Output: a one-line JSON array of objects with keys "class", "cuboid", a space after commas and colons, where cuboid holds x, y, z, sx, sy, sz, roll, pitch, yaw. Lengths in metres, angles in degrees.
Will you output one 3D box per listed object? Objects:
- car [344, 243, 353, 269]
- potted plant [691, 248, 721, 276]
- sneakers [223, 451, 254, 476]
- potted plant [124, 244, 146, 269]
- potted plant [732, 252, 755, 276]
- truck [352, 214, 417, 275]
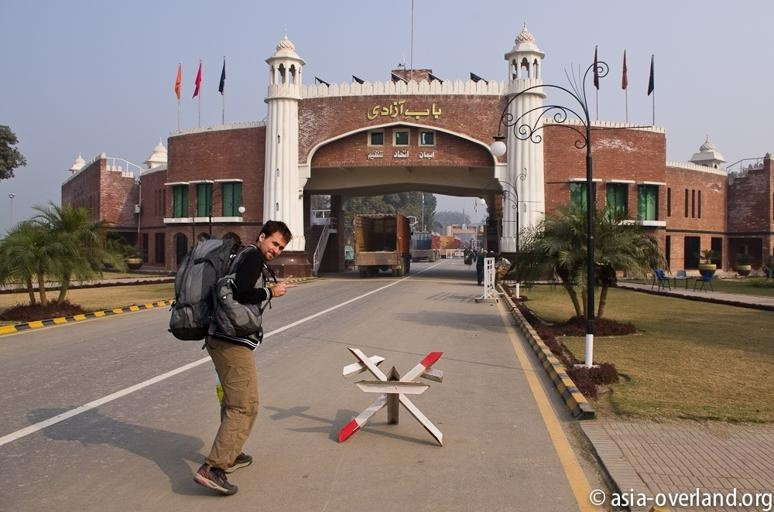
[{"class": "car", "cuboid": [-5.177, 0.163, 79.084, 1.873, 2.802, 2.810, -1, -5, 2]}, {"class": "potted plant", "cuboid": [24.165, 0.418, 47.005, 1.726, 2.002, 1.820, 1, -5, -2]}, {"class": "sneakers", "cuboid": [-2.018, 2.854, 8.565, 0.145, 0.174, 0.392, 5, 7, 22]}, {"class": "potted plant", "cuboid": [-21.449, 0.169, 52.567, 0.905, 1.982, 2.561, 0, 5, -2]}, {"class": "potted plant", "cuboid": [27.921, 0.609, 48.261, 1.435, 1.878, 1.525, 3, -5, -10]}, {"class": "truck", "cuboid": [-0.289, -0.974, 45.165, 2.862, 3.075, 5.458, 0, 3, 6]}]
